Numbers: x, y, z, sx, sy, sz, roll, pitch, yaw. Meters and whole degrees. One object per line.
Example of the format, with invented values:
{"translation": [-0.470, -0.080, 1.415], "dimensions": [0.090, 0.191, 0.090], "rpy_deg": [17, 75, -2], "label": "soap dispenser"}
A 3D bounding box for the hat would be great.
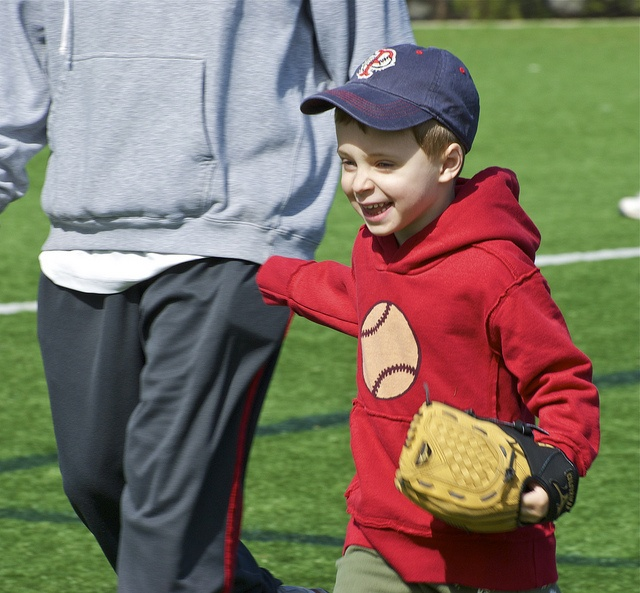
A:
{"translation": [0.172, -0.428, 2.588], "dimensions": [0.341, 0.137, 0.225], "rpy_deg": [14, 3, -24], "label": "hat"}

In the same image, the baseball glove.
{"translation": [0.335, 0.323, 2.502], "dimensions": [0.420, 0.122, 0.255], "rpy_deg": [17, 63, -17], "label": "baseball glove"}
